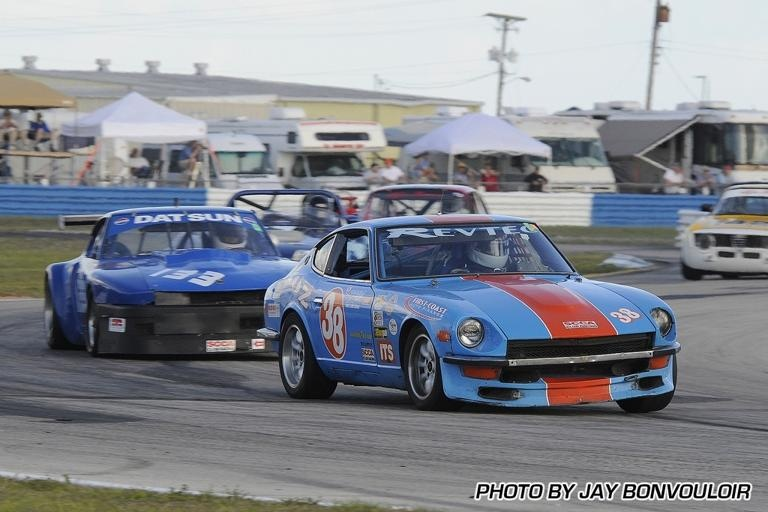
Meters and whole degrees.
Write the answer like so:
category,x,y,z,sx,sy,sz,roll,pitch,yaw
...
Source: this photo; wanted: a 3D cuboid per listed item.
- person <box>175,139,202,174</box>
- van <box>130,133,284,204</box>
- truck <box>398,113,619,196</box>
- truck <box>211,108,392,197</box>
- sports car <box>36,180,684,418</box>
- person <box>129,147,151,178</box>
category,x,y,z,sx,sy,sz,roll,pitch,yaw
person,-5.023,-2.575,30.978,0.580,0.799,0.521,0,6,5
van,-4.649,-2.519,31.905,3.376,1.372,2.103,18,6,41
truck,4.098,-2.765,35.688,2.543,1.316,4.988,-7,16,-35
truck,-2.372,-2.656,33.635,2.593,1.723,4.760,-15,15,-34
sports car,0.783,0.529,11.352,1.860,1.810,3.188,-5,7,-44
person,-6.281,-2.413,30.991,0.573,0.744,0.636,-1,5,-8
